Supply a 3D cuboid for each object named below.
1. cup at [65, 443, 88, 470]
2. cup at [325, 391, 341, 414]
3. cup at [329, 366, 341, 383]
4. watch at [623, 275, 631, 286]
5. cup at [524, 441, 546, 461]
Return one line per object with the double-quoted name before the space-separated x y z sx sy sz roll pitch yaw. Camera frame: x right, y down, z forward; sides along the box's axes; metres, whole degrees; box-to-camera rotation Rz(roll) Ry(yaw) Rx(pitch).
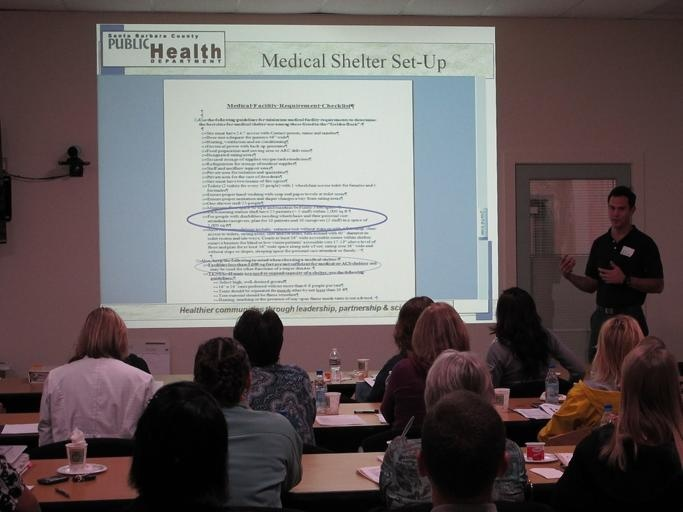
"cup" -1.315 0.991 3.173 0.124 0.143 0.122 0 -5 0
"cup" -0.048 0.983 4.259 0.112 0.119 0.118 0 -4 0
"cup" -0.037 1.013 5.384 0.098 0.170 0.099 -1 -2 0
"watch" 2.443 0.217 5.398 0.064 0.090 0.084 0 -10 24
"cup" 0.999 1.008 3.258 0.094 0.071 0.096 -1 -4 0
